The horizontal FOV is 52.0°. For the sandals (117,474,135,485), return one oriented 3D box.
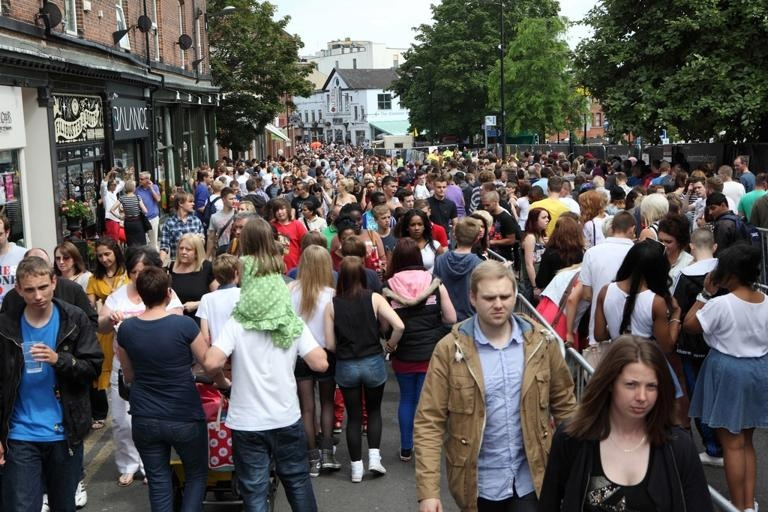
[{"bbox_3d":[-2.837,2.473,8.628,0.077,0.081,0.184,7,10,-2],"label":"sandals"}]

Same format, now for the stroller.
[{"bbox_3d":[-1.686,1.803,7.989,0.824,1.466,1.431,0,11,2],"label":"stroller"}]

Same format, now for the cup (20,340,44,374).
[{"bbox_3d":[-3.138,0.897,7.006,0.242,0.379,0.241,-1,0,0],"label":"cup"}]

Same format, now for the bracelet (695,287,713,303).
[{"bbox_3d":[3.117,0.399,7.685,0.165,0.123,0.180,-12,-14,19],"label":"bracelet"}]

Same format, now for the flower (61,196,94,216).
[{"bbox_3d":[-6.741,-1.065,17.198,0.540,0.370,0.564,18,13,28],"label":"flower"}]
